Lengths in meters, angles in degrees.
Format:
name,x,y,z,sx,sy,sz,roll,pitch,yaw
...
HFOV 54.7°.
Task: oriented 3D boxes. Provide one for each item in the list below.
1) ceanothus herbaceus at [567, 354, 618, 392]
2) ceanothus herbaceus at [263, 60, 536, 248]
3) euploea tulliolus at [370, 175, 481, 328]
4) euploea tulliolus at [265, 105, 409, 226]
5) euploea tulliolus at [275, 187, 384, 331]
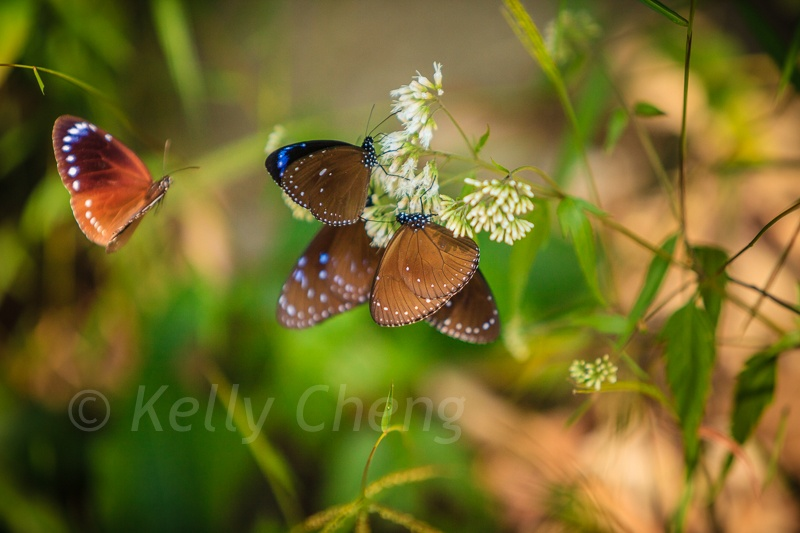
name,x,y,z,sx,sy,sz,roll,pitch,yaw
ceanothus herbaceus,0.459,0.259,1.853,0.104,0.128,0.089,-12,58,-4
ceanothus herbaceus,-0.009,-0.253,1.776,0.633,0.292,0.300,4,58,6
euploea tulliolus,0.047,-0.039,1.810,0.211,0.277,0.267,10,29,28
euploea tulliolus,-0.171,-0.203,1.839,0.264,0.291,0.174,-42,76,9
euploea tulliolus,-0.161,-0.013,1.894,0.259,0.112,0.316,18,104,13
